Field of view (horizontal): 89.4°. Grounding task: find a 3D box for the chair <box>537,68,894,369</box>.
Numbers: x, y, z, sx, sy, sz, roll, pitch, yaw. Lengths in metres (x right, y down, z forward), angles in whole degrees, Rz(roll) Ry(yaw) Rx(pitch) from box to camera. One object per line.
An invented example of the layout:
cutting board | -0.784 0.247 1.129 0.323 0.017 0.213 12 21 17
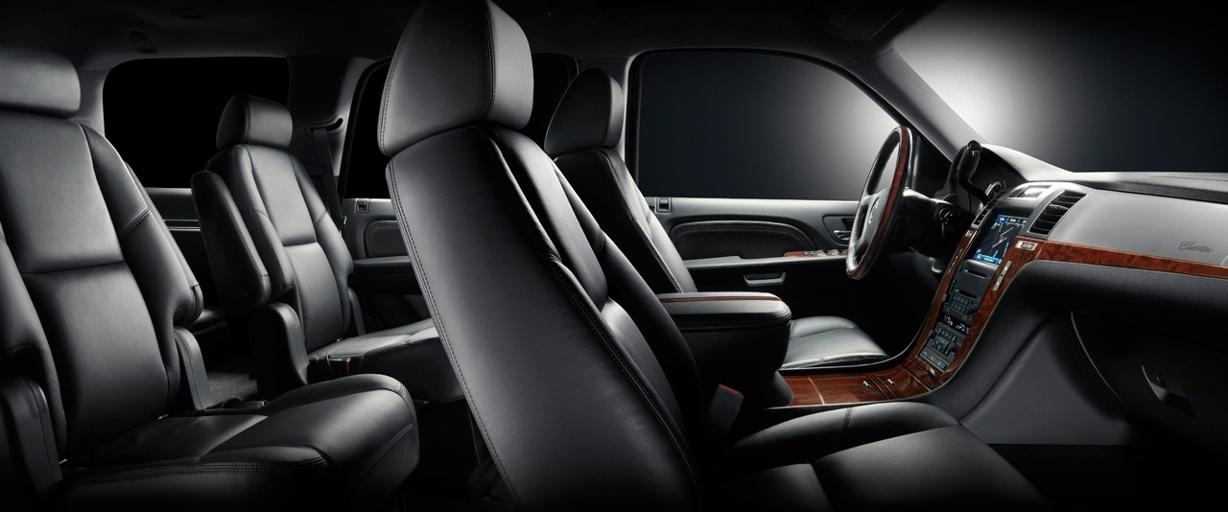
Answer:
chair | 0.716 -0.215 4.386 2.592 1.990 1.406 5 25 -4
